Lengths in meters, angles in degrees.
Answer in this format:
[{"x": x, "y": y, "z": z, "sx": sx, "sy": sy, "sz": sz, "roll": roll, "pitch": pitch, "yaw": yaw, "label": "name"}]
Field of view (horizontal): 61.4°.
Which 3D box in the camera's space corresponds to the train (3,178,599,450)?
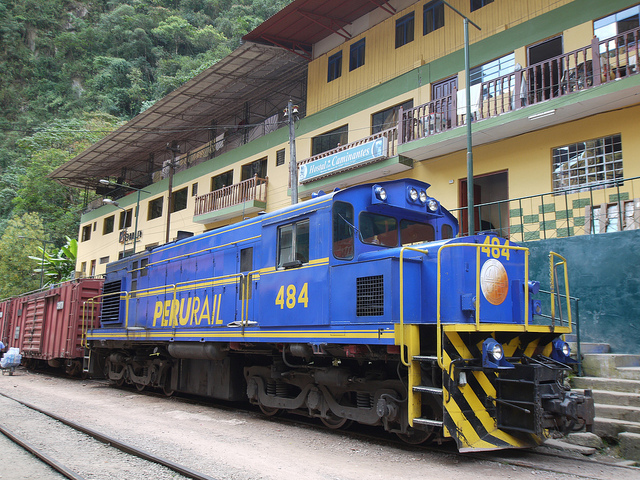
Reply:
[{"x": -2.926, "y": 1.876, "z": 16.583, "sx": 5.227, "sy": 4.847, "sz": 20.336, "roll": 7, "pitch": -9, "yaw": -40, "label": "train"}]
